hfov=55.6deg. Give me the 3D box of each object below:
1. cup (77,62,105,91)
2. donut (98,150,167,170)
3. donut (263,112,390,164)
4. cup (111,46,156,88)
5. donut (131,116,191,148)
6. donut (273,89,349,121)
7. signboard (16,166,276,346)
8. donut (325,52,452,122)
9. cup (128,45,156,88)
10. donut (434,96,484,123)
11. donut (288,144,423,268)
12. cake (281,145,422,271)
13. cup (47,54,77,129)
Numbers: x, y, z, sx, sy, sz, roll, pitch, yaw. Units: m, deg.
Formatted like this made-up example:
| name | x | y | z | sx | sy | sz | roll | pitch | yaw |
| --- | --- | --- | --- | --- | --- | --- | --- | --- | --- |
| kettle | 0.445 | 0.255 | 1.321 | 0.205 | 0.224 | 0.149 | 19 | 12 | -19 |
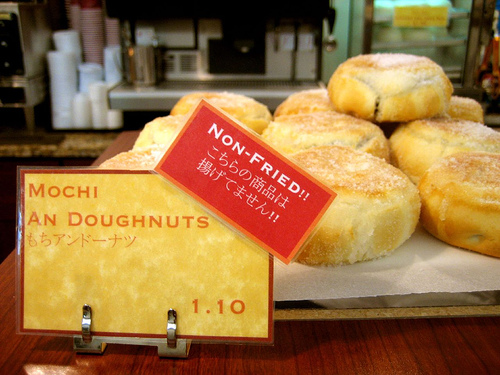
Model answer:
| name | x | y | z | sx | sy | sz | roll | pitch | yaw |
| --- | --- | --- | --- | --- | --- | --- | --- | --- | --- |
| cup | -0.829 | -0.585 | 2.537 | 0.151 | 0.152 | 0.153 | 3 | 15 | -1 |
| donut | -0.219 | -0.052 | 0.885 | 0.101 | 0.021 | 0.072 | -9 | 18 | -20 |
| donut | 0.179 | -0.133 | 1.132 | 0.181 | 0.065 | 0.189 | 7 | 12 | 29 |
| cup | -0.617 | -0.651 | 2.502 | 0.229 | 0.221 | 0.147 | -3 | 29 | -9 |
| donut | -0.230 | -0.135 | 1.119 | 0.139 | 0.049 | 0.162 | -1 | 7 | 2 |
| donut | 0.143 | -0.226 | 1.290 | 0.118 | 0.061 | 0.120 | 1 | -2 | 4 |
| signboard | -0.148 | 0.096 | 0.734 | 0.236 | 0.166 | 0.006 | 17 | -2 | -3 |
| donut | 0.368 | -0.251 | 1.246 | 0.351 | 0.165 | 0.346 | -3 | 8 | -21 |
| cup | -0.603 | -0.630 | 2.513 | 0.209 | 0.213 | 0.134 | -3 | 7 | 2 |
| donut | 0.527 | -0.185 | 1.186 | 0.089 | 0.046 | 0.093 | 5 | 7 | 29 |
| donut | 0.192 | 0.014 | 1.018 | 0.291 | 0.147 | 0.282 | 20 | 30 | 23 |
| cake | 0.176 | 0.030 | 1.006 | 0.282 | 0.142 | 0.274 | 8 | 23 | 11 |
| cup | -0.964 | -0.488 | 2.446 | 0.141 | 0.377 | 0.144 | 7 | 41 | -6 |
